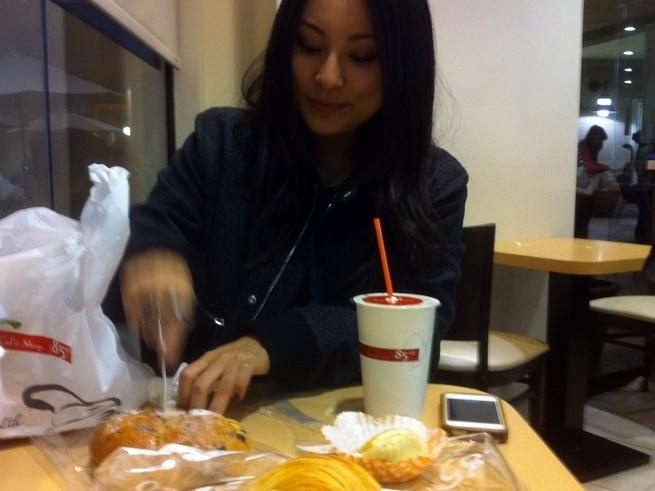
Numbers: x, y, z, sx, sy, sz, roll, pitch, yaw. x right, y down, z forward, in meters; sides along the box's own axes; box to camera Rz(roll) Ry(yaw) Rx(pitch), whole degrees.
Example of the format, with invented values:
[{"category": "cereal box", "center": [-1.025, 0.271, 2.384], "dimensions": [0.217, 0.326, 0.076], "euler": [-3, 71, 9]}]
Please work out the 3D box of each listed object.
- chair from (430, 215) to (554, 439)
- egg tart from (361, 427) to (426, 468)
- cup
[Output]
[{"category": "chair", "center": [0.571, 0.304, 2.073], "dimensions": [0.434, 0.840, 0.465], "euler": [-2, 4, -31]}, {"category": "egg tart", "center": [0.088, 0.265, 0.710], "dimensions": [0.091, 0.029, 0.100], "euler": [-6, -8, -12]}, {"category": "cup", "center": [0.112, 0.161, 0.876], "dimensions": [0.113, 0.202, 0.123], "euler": [0, 2, 0]}]
